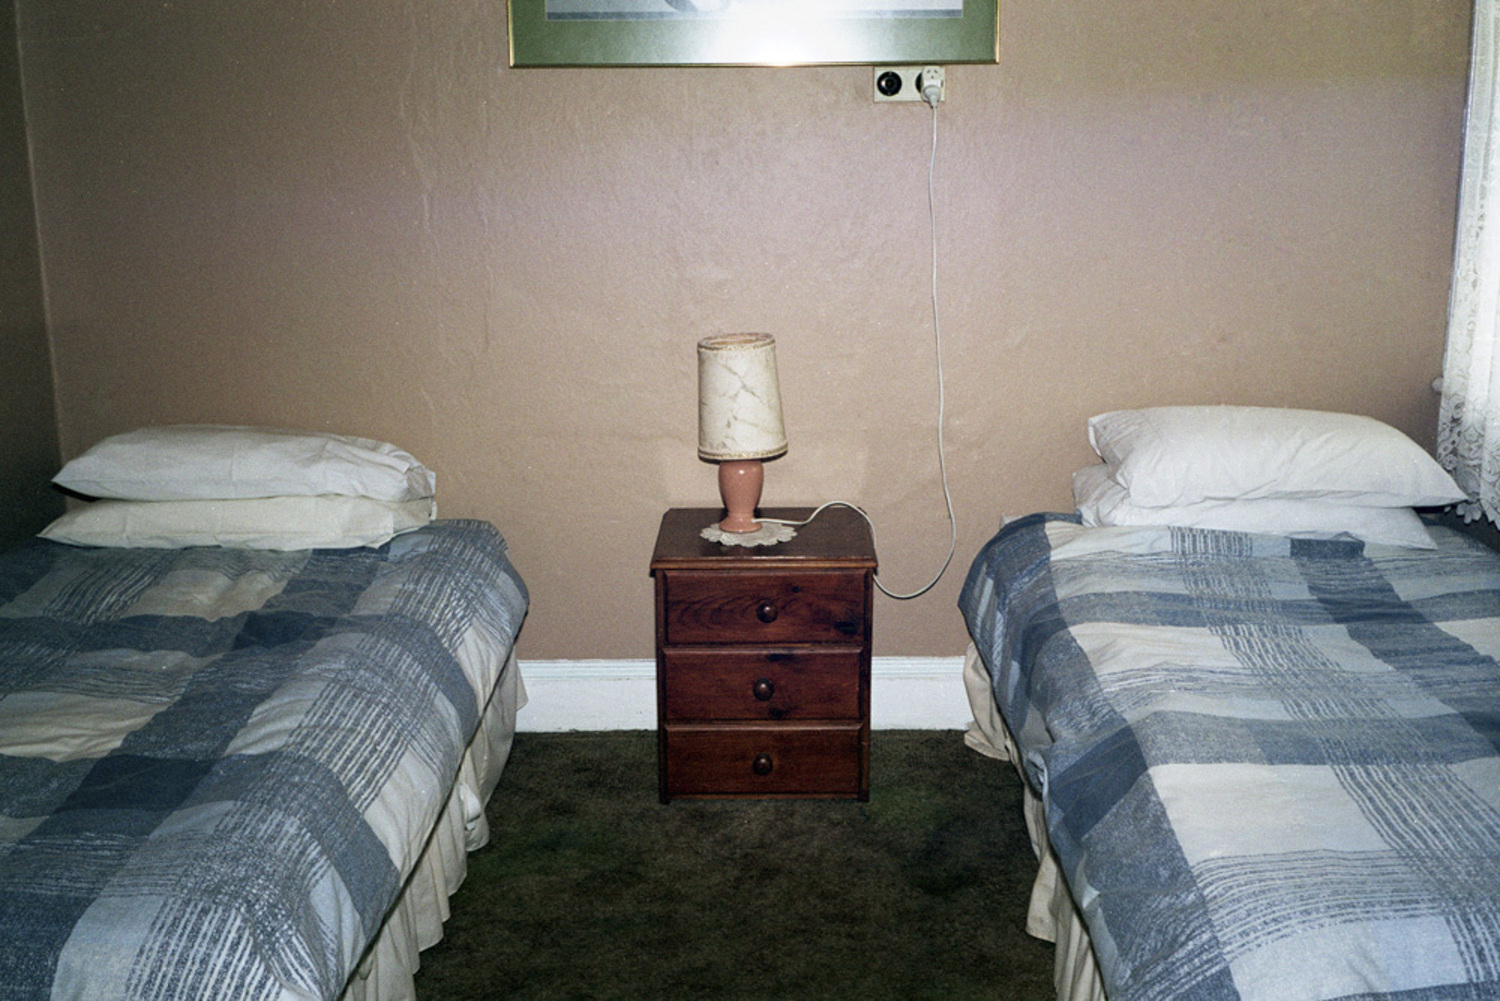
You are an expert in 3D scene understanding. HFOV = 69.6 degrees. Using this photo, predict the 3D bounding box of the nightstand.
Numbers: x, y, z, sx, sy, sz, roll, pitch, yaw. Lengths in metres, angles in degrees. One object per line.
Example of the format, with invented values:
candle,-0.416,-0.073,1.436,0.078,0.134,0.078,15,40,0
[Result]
nightstand,0.036,0.460,3.380,0.902,0.932,0.694,-1,15,1

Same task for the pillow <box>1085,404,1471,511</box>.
pillow,1.444,-0.120,3.017,0.910,0.276,0.310,-2,6,6

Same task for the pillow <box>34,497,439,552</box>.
pillow,-1.402,0.056,2.964,0.576,0.085,0.333,-1,7,-5

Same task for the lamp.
lamp,-0.020,-0.176,3.108,0.286,0.614,0.238,-5,8,-17

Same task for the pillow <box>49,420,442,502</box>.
pillow,-1.477,-0.124,3.143,1.006,0.183,0.496,4,16,-19
